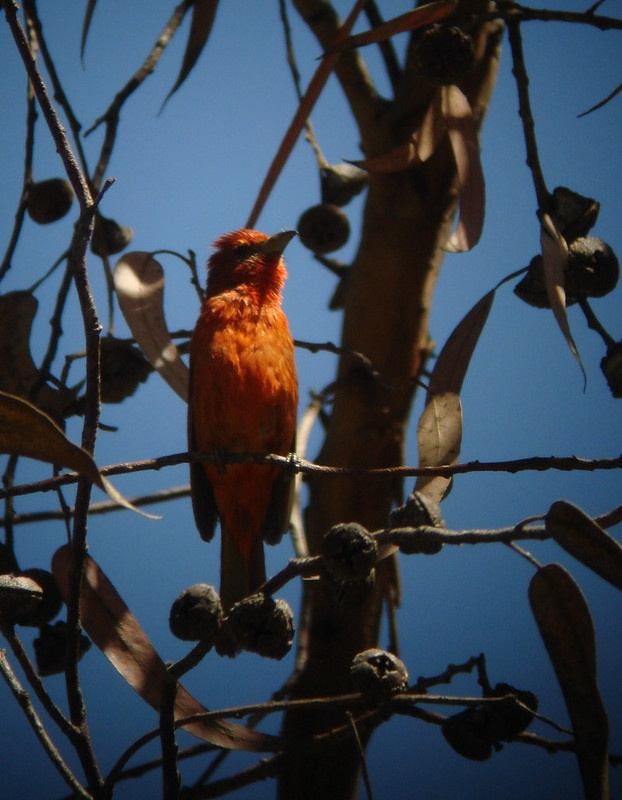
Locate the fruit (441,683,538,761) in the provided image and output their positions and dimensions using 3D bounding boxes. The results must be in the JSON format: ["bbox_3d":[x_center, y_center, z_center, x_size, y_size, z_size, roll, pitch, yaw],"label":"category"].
[{"bbox_3d":[0.314,0.571,3.138,0.182,0.095,0.117,-24,-58,21],"label":"fruit"}]

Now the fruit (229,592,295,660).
[{"bbox_3d":[-0.083,0.378,3.115,0.099,0.037,0.090,-13,-21,-39],"label":"fruit"}]

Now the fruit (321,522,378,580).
[{"bbox_3d":[0.065,0.262,3.002,0.084,0.044,0.096,12,-93,5],"label":"fruit"}]

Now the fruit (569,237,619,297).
[{"bbox_3d":[0.518,-0.243,3.267,0.092,0.042,0.117,0,-94,-12],"label":"fruit"}]

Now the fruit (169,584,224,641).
[{"bbox_3d":[-0.204,0.378,3.126,0.092,0.104,0.056,8,-51,-2],"label":"fruit"}]

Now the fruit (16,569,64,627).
[{"bbox_3d":[-0.508,0.372,3.314,0.079,0.119,0.068,-3,-51,6],"label":"fruit"}]

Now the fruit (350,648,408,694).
[{"bbox_3d":[0.117,0.483,3.183,0.115,0.134,0.075,4,-86,3],"label":"fruit"}]

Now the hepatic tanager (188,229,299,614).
[{"bbox_3d":[-0.176,0.018,4.305,0.232,0.410,1.033,2,-76,-4],"label":"hepatic tanager"}]
